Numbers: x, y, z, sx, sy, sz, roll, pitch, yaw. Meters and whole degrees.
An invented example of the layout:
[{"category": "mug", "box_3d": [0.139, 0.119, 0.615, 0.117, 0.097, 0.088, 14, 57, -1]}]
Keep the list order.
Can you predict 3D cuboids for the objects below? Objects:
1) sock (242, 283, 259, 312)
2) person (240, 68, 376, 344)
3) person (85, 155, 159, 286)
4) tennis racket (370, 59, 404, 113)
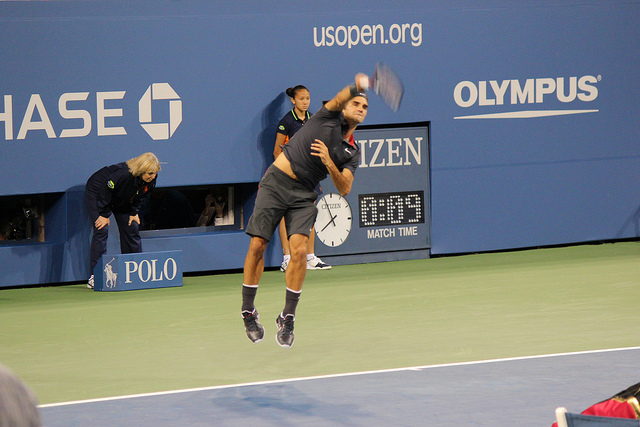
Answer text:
[{"category": "sock", "box_3d": [-0.765, 0.886, 9.592, 0.151, 0.306, 0.202, -2, 9, -5]}, {"category": "person", "box_3d": [-0.178, -0.066, 9.544, 1.361, 2.753, 0.700, -1, 9, -4]}, {"category": "person", "box_3d": [-2.858, -0.003, 12.992, 1.040, 1.679, 0.420, -2, 9, -6]}, {"category": "tennis racket", "box_3d": [0.637, -1.262, 9.021, 0.325, 0.475, 0.261, 2, 9, 15]}]
